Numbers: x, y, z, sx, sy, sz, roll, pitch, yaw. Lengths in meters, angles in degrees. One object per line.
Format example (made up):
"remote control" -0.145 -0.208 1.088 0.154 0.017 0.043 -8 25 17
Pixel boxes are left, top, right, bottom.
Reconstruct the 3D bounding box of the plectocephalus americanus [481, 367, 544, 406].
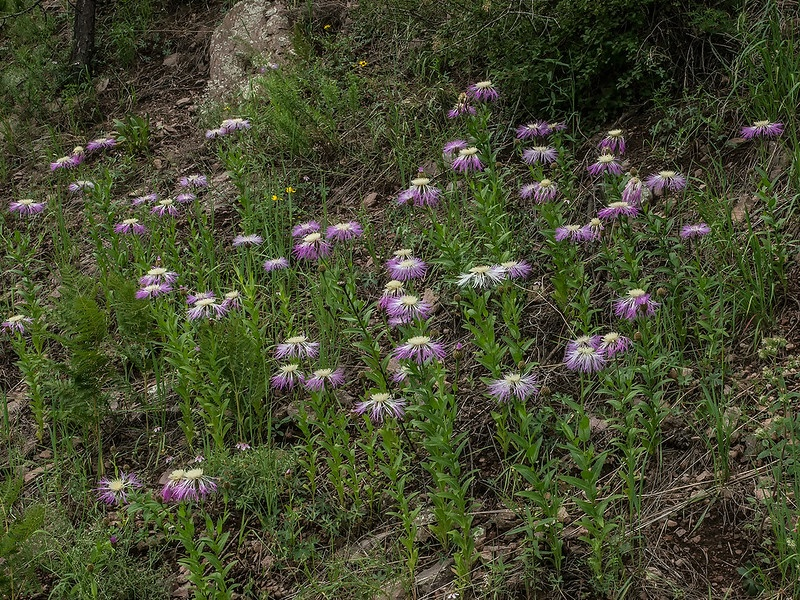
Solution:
"plectocephalus americanus" 0.510 0.390 3.378 0.149 0.070 0.183 -9 19 17

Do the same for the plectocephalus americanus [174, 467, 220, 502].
"plectocephalus americanus" -0.957 0.810 3.448 0.144 0.145 0.157 -10 -3 -27
